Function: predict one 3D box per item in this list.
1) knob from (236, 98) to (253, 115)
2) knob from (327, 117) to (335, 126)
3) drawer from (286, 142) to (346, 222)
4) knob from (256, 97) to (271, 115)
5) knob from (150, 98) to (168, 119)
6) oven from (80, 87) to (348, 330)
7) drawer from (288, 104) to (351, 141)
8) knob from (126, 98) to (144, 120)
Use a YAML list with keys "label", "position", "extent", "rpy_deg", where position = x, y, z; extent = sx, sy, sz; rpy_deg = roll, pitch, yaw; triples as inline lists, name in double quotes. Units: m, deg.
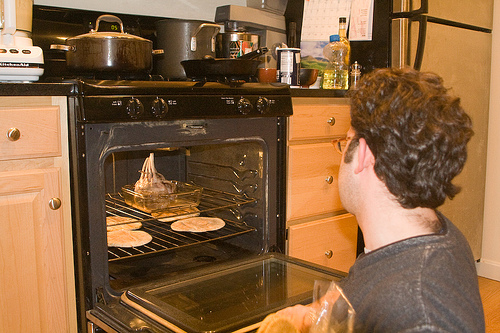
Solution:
- label: "knob"
  position: [-0.021, -0.255, 1.630]
  extent: [0.068, 0.062, 0.021]
  rpy_deg: [6, 1, -23]
- label: "knob"
  position: [0.411, -0.231, 1.968]
  extent: [0.053, 0.046, 0.026]
  rpy_deg: [-2, 3, 19]
- label: "drawer"
  position: [0.297, 0.065, 1.843]
  extent: [0.437, 0.268, 0.227]
  rpy_deg: [-6, 8, -40]
- label: "knob"
  position: [0.061, -0.265, 1.689]
  extent: [0.074, 0.064, 0.021]
  rpy_deg: [7, 1, -26]
- label: "knob"
  position: [-0.334, -0.216, 1.434]
  extent: [0.061, 0.074, 0.019]
  rpy_deg: [-9, 8, -39]
- label: "oven"
  position: [-0.315, 0.079, 1.624]
  extent: [0.879, 0.717, 1.081]
  rpy_deg: [-9, 11, -44]
- label: "drawer"
  position: [0.306, -0.232, 2.017]
  extent: [0.399, 0.166, 0.236]
  rpy_deg: [-4, 6, -32]
- label: "knob"
  position: [-0.403, -0.211, 1.381]
  extent: [0.066, 0.064, 0.017]
  rpy_deg: [-2, 8, -30]
